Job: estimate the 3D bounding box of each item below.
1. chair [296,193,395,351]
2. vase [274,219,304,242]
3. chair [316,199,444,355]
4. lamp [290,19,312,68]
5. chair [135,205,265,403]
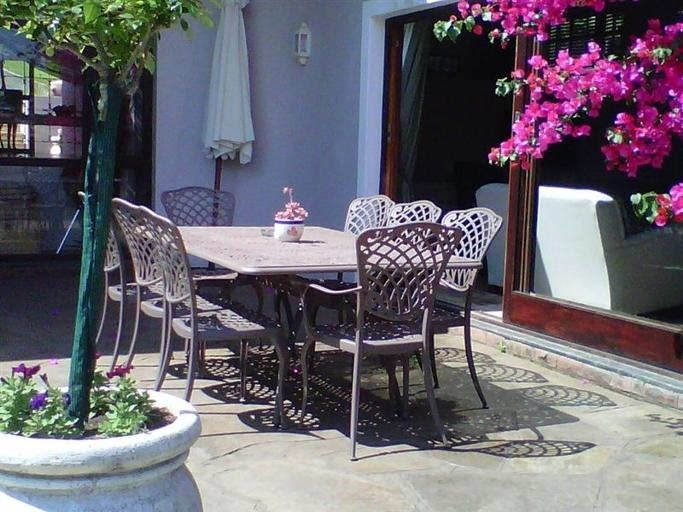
[{"bbox_3d":[0.062,-0.182,4.659,0.553,0.847,0.496,0,11,-10],"label":"chair"},{"bbox_3d":[-0.310,-0.148,3.665,0.121,0.091,0.134,0,0,-32],"label":"vase"},{"bbox_3d":[0.307,-0.088,4.482,0.693,1.215,0.803,-3,22,-15],"label":"chair"},{"bbox_3d":[-0.371,-2.091,6.193,0.172,0.423,0.270,1,10,-5],"label":"lamp"},{"bbox_3d":[-0.808,0.228,3.380,0.480,0.942,1.108,-1,5,-29],"label":"chair"}]
